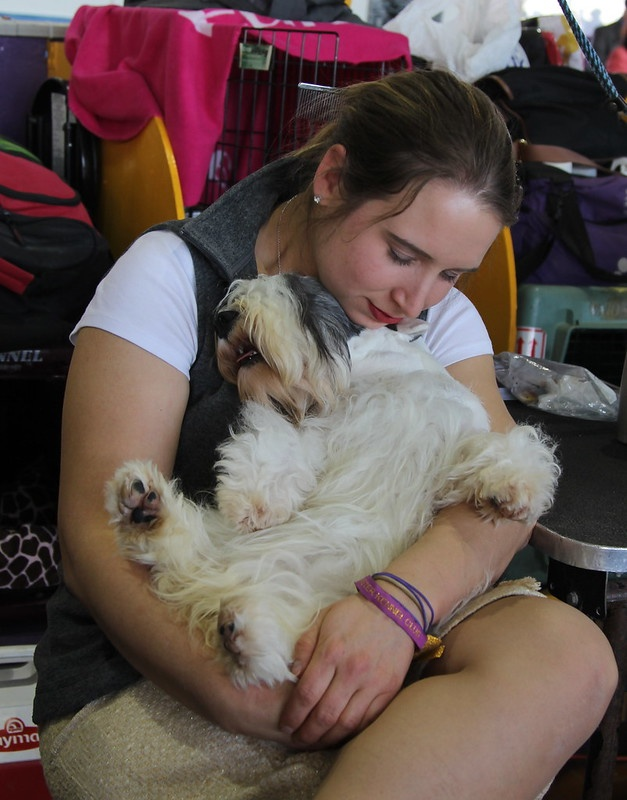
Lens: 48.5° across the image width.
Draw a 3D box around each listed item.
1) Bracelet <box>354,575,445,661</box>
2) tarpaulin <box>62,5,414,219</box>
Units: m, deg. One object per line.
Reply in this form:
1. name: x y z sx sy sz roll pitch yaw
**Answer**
1. Bracelet: 0.122 0.249 0.843 0.117 0.031 0.089 44 3 14
2. tarpaulin: -0.452 -0.924 2.457 0.779 0.454 0.904 1 16 -9
